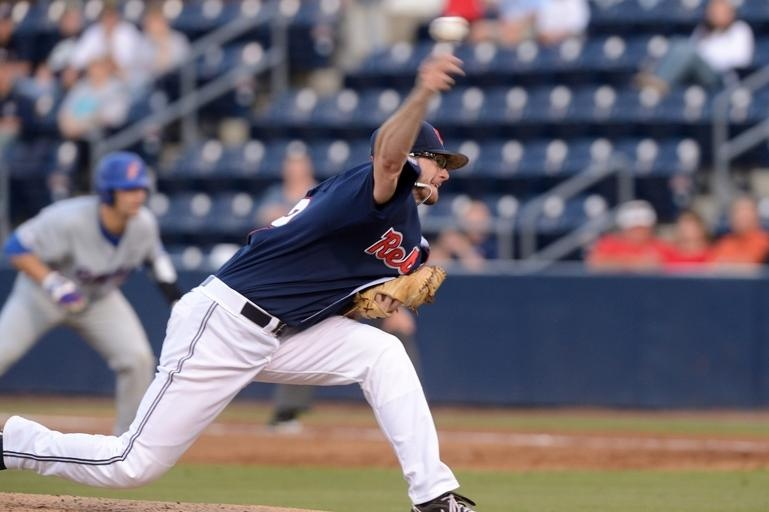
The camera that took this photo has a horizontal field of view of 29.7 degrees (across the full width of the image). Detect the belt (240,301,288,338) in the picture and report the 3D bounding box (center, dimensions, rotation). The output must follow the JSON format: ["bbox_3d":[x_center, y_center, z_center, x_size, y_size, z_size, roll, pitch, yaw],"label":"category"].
[{"bbox_3d":[-0.964,0.504,11.449,0.362,0.084,0.208,30,-32,-3],"label":"belt"}]

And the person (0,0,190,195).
[{"bbox_3d":[-3.434,-2.212,18.355,2.574,1.559,0.745,-25,-3,43],"label":"person"}]

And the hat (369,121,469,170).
[{"bbox_3d":[0.320,-0.917,11.656,0.705,0.348,0.438,7,-14,1],"label":"hat"}]

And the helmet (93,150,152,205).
[{"bbox_3d":[-2.248,-0.714,12.822,0.671,0.341,0.481,-5,1,34],"label":"helmet"}]
